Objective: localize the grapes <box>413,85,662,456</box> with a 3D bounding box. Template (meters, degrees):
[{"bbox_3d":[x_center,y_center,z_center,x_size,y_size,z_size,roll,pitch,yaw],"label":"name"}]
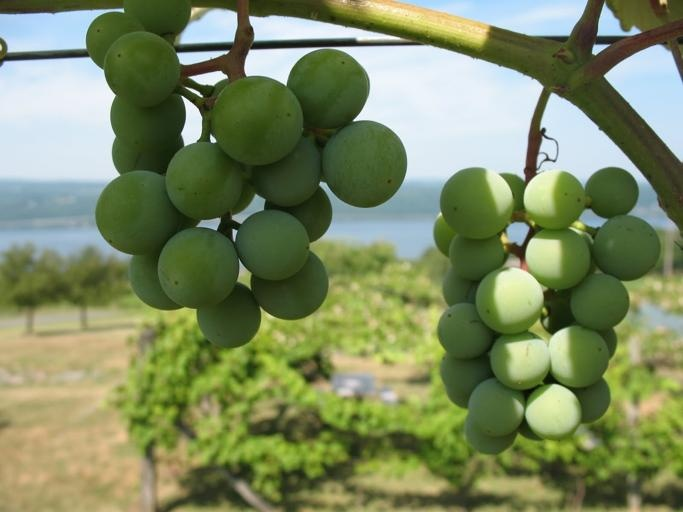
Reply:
[{"bbox_3d":[0.718,0.068,3.219,0.763,1.082,0.679,1,38,-2],"label":"grapes"}]
